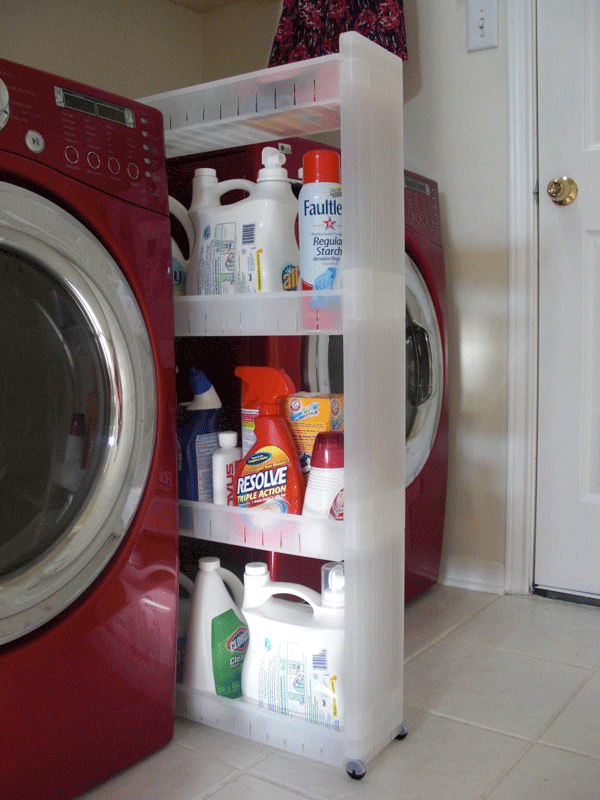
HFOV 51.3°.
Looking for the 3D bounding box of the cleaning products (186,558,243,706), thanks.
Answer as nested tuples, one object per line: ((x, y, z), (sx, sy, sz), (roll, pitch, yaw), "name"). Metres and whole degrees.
((-0.129, 0.362, 1.038), (0.112, 0.219, 0.068), (-10, 16, -39), "cleaning products")

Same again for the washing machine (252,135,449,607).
((0.237, 0.042, 1.790), (0.490, 0.988, 0.546), (10, -19, -11), "washing machine")
